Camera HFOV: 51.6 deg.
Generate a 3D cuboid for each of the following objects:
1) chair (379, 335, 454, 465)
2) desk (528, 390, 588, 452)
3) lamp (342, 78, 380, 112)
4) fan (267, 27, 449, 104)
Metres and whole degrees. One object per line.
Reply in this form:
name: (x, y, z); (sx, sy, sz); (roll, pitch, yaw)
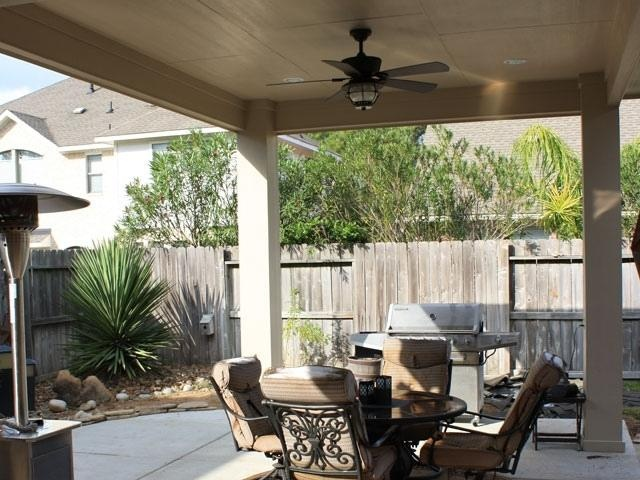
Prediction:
chair: (0.927, 1.599, 6.719); (0.711, 1.141, 0.977); (2, 1, 12)
desk: (2.669, 2.054, 7.469); (0.492, 0.659, 0.727); (-3, -13, 17)
lamp: (0.382, -1.322, 6.107); (0.241, 0.190, 0.245); (-1, -9, -2)
fan: (0.600, -1.611, 6.223); (1.003, 0.757, 1.238); (-1, 3, 1)
